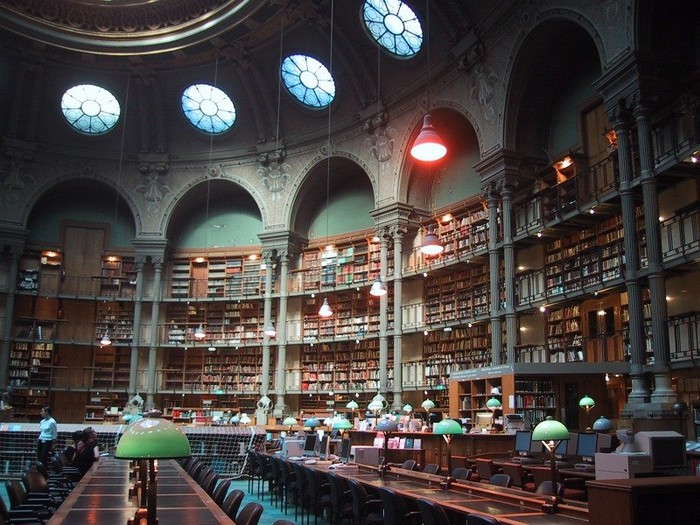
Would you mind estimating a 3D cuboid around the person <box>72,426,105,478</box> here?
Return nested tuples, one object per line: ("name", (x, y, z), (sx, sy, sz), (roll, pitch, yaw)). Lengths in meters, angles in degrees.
("person", (-4.367, 3.105, 9.915), (0.369, 0.714, 0.706), (5, -18, -21))

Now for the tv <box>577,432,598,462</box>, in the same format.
("tv", (3.700, 2.842, 9.276), (0.258, 0.417, 0.466), (2, -17, -10))

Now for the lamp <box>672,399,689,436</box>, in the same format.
("lamp", (5.854, 2.711, 10.601), (0.211, 0.598, 0.994), (-9, -19, 27))

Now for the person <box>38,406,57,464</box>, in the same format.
("person", (-6.054, 3.457, 11.949), (0.302, 1.108, 1.699), (7, -19, -25))

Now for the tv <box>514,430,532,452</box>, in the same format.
("tv", (2.989, 3.071, 10.362), (0.211, 0.347, 0.522), (0, -18, -4))

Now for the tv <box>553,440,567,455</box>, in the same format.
("tv", (3.520, 3.072, 9.950), (0.206, 0.230, 0.286), (-5, -18, 13))
